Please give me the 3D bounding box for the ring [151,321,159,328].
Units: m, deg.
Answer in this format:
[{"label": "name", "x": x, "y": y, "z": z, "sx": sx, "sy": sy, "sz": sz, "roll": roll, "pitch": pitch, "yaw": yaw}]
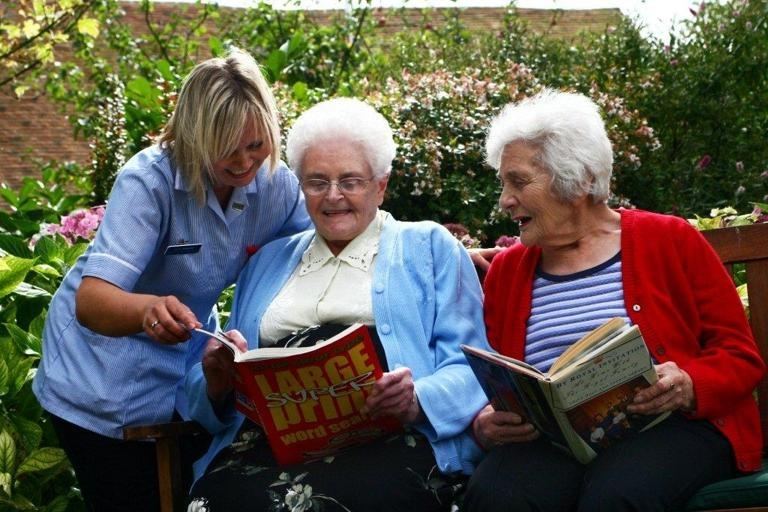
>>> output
[{"label": "ring", "x": -1.032, "y": 0.309, "z": 3.167, "sx": 0.028, "sy": 0.025, "sz": 0.006, "roll": -4, "pitch": -3, "yaw": 12}]
